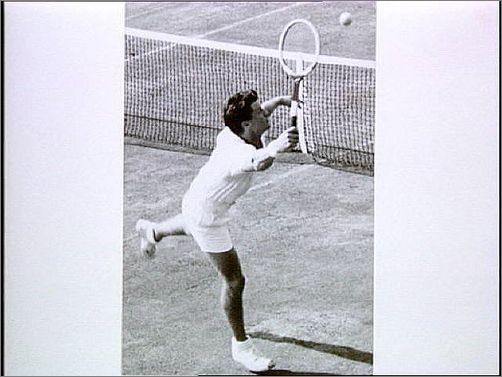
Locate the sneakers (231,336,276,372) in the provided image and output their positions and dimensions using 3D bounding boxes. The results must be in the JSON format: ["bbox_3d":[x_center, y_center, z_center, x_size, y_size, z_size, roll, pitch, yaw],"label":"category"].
[{"bbox_3d":[0.061,0.949,4.465,0.319,0.215,0.117,8,4,8],"label":"sneakers"}]

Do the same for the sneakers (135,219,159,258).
[{"bbox_3d":[-0.600,0.278,4.347,0.126,0.203,0.083,2,-7,-9],"label":"sneakers"}]

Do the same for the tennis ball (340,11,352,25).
[{"bbox_3d":[0.543,-0.973,4.398,0.069,0.078,0.069,-4,16,1],"label":"tennis ball"}]
